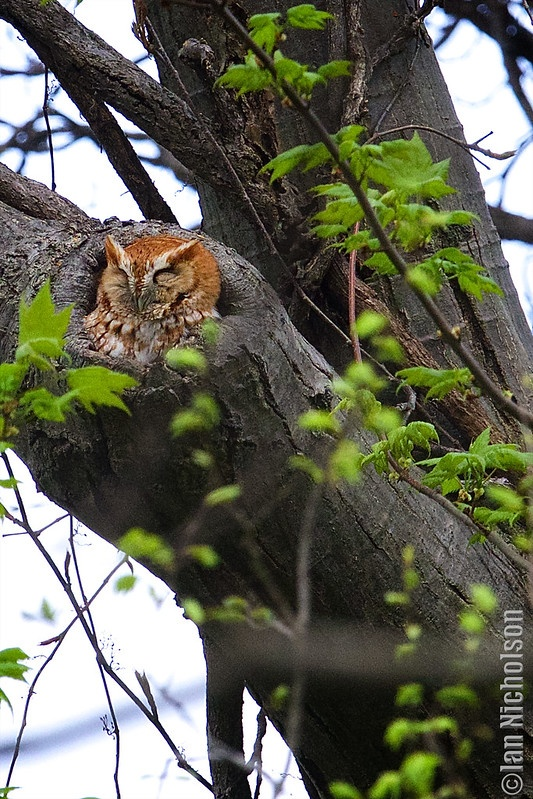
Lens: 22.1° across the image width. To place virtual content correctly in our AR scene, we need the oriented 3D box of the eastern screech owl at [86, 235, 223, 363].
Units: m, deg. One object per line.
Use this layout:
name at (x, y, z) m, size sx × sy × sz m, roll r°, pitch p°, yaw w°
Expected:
eastern screech owl at (-0.341, -0.272, 4.235) m, size 0.444 × 0.466 × 0.302 m, roll 3°, pitch 10°, yaw 13°
